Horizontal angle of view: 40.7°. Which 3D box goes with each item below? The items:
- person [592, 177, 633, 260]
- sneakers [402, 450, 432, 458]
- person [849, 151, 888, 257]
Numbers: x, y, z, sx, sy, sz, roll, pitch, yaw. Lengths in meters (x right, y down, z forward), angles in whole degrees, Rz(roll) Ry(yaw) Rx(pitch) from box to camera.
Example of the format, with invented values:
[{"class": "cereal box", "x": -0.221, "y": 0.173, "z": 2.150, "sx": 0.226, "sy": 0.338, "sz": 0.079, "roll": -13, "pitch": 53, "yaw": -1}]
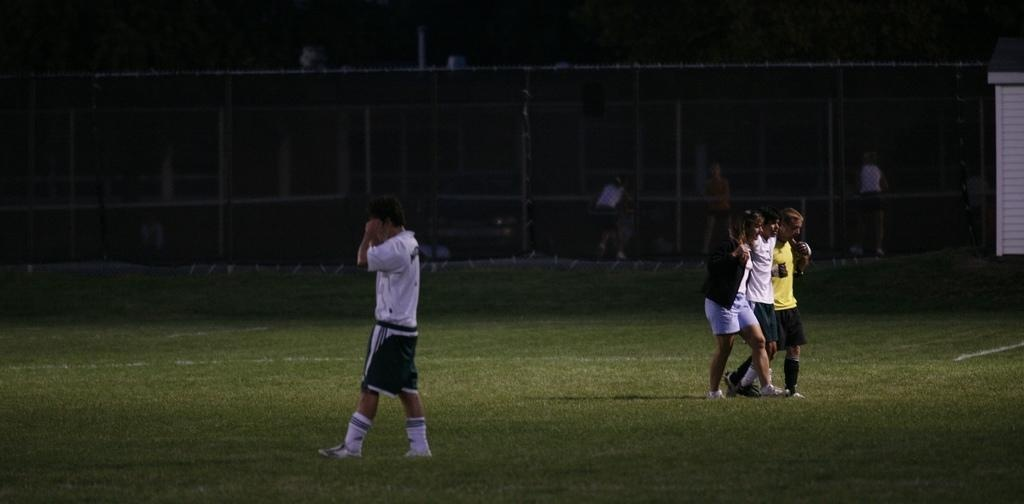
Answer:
[{"class": "person", "x": 2.966, "y": -1.013, "z": 40.623, "sx": 1.053, "sy": 2.226, "sz": 1.068, "roll": -1, "pitch": 14, "yaw": 2}, {"class": "sneakers", "x": -1.974, "y": 4.146, "z": 28.536, "sx": 0.573, "sy": 0.201, "sz": 0.181, "roll": 2, "pitch": -3, "yaw": 2}, {"class": "person", "x": 10.604, "y": -1.606, "z": 40.812, "sx": 0.818, "sy": 2.727, "sz": 0.935, "roll": 2, "pitch": 14, "yaw": 13}]
